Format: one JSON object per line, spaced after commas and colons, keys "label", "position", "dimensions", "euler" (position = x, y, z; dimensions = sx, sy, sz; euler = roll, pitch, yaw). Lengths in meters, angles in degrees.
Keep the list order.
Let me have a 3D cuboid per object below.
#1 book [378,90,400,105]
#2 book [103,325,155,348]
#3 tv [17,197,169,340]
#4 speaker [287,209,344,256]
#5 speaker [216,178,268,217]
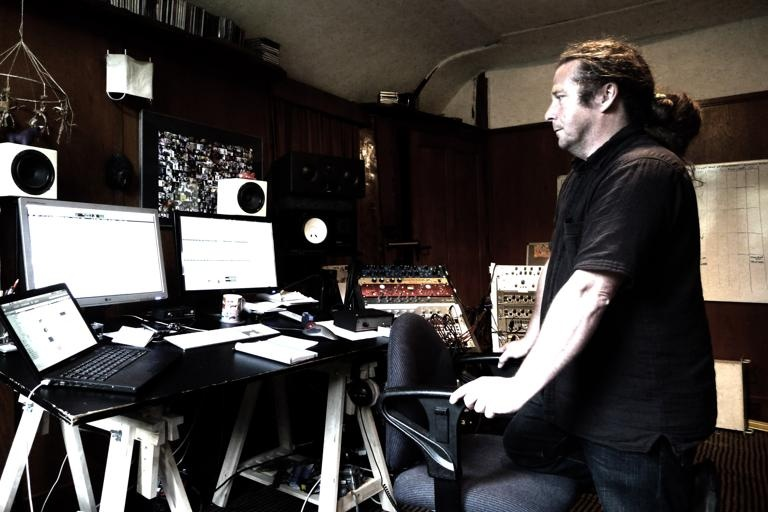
{"label": "book", "position": [0.041, -1.347, 5.071], "dimensions": [0.189, 0.118, 0.133], "euler": [0, 2, -7]}
{"label": "book", "position": [-1.222, 0.395, 2.907], "dimensions": [0.135, 0.030, 0.119], "euler": [6, 6, 14]}
{"label": "tv", "position": [-1.478, 0.067, 2.986], "dimensions": [0.099, 0.522, 0.752], "euler": [-20, -16, 34]}
{"label": "speaker", "position": [-0.491, -0.140, 3.998], "dimensions": [0.471, 0.304, 0.248], "euler": [3, -10, -39]}
{"label": "speaker", "position": [-0.848, -0.313, 3.721], "dimensions": [0.236, 0.309, 0.341], "euler": [-2, -2, 38]}
